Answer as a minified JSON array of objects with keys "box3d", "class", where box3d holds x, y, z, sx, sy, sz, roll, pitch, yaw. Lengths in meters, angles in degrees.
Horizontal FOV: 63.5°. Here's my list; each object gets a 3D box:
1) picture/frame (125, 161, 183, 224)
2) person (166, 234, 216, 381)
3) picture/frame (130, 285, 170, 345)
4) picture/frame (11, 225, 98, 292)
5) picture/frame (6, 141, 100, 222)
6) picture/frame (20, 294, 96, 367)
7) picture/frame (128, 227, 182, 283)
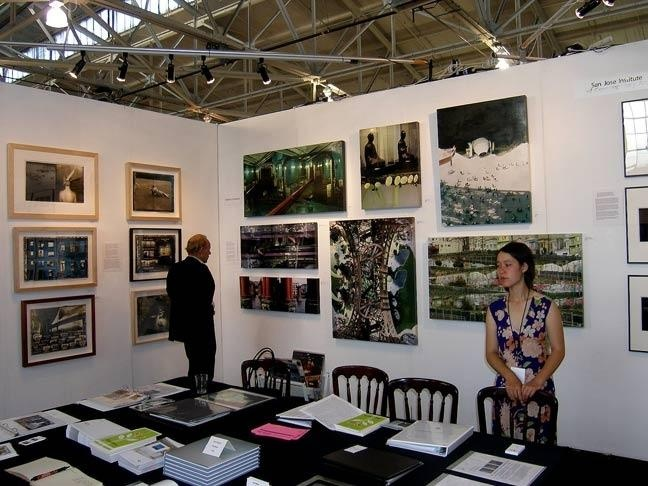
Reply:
[{"box3d":[-2.172,-0.637,6.589,0.053,0.739,0.741,1,3,43],"class":"picture/frame"},{"box3d":[-1.529,0.759,6.063,0.537,1.643,0.436,-3,8,-13],"class":"person"},{"box3d":[-2.170,0.896,6.481,0.059,0.754,0.740,-1,2,34],"class":"picture/frame"},{"box3d":[-3.015,0.170,5.780,0.698,0.623,0.053,-3,4,-44],"class":"picture/frame"},{"box3d":[-3.040,-0.690,5.787,0.869,0.791,0.033,-1,-1,-43],"class":"picture/frame"},{"box3d":[-2.975,0.976,5.791,0.053,0.861,0.804,-2,-2,45],"class":"picture/frame"},{"box3d":[-2.130,0.157,6.495,0.048,0.693,0.640,-2,-3,41],"class":"picture/frame"}]
